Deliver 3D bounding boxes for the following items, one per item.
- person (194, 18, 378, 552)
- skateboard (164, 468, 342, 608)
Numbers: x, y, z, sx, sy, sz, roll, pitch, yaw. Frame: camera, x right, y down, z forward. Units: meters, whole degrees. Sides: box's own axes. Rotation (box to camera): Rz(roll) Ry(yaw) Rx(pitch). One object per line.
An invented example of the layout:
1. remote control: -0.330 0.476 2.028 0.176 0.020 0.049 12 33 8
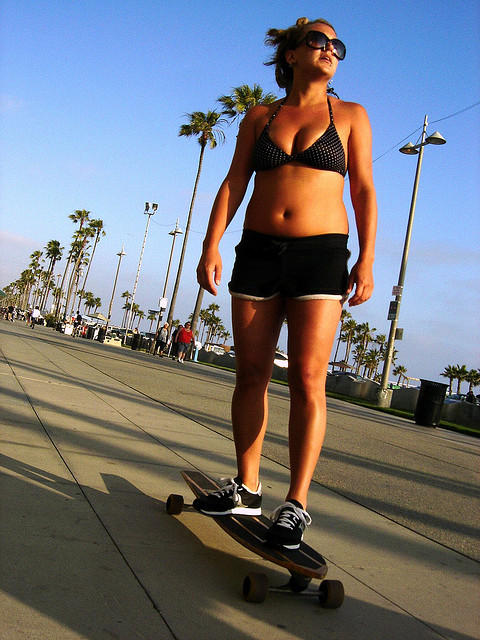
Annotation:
1. person: 0.234 -0.380 1.943 0.747 2.495 0.474 4 -10 41
2. skateboard: 0.048 0.757 1.663 0.261 0.158 1.020 11 -2 -19
